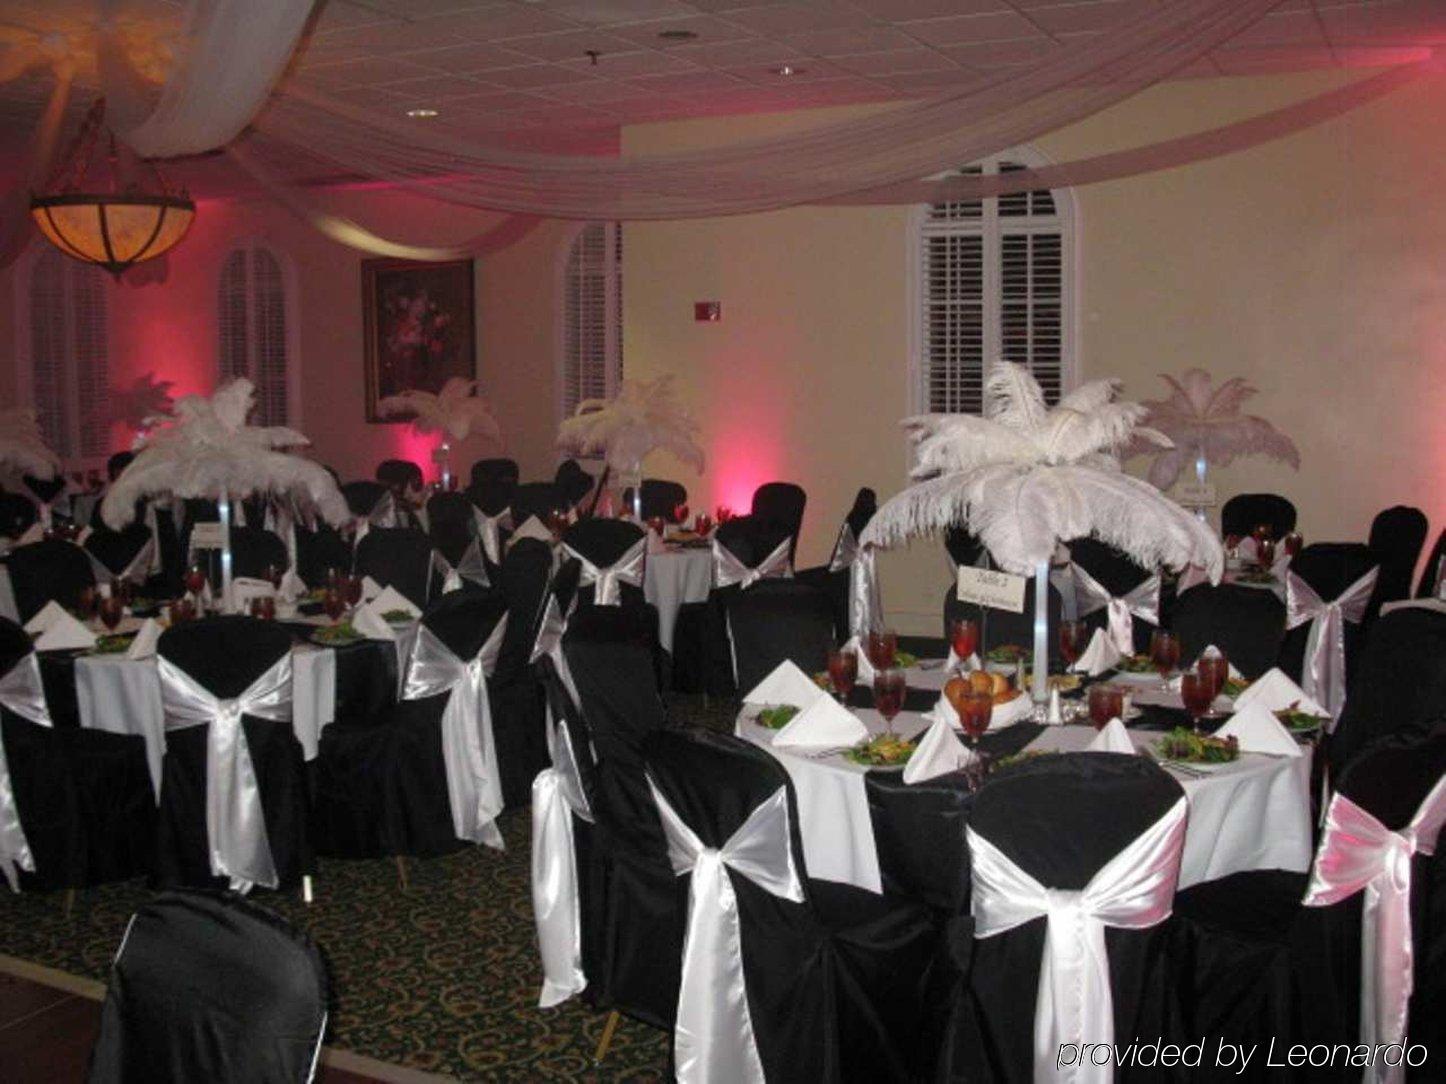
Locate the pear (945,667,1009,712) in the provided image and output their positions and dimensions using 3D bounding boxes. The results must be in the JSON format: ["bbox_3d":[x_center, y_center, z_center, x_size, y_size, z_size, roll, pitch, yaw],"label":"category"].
[{"bbox_3d":[0.743,0.409,3.475,0.152,0.063,0.156,-5,3,-23],"label":"pear"}]

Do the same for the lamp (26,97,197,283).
[{"bbox_3d":[-3.638,-2.210,7.180,0.778,1.269,2.421,-3,5,-28],"label":"lamp"}]

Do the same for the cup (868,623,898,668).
[{"bbox_3d":[0.486,0.324,3.800,0.102,0.172,0.103,2,1,0],"label":"cup"}]

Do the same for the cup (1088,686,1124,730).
[{"bbox_3d":[1.085,0.473,3.505,0.099,0.122,0.105,1,-7,0],"label":"cup"}]

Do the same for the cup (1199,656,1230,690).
[{"bbox_3d":[1.484,0.380,3.651,0.102,0.123,0.105,-3,1,0],"label":"cup"}]
